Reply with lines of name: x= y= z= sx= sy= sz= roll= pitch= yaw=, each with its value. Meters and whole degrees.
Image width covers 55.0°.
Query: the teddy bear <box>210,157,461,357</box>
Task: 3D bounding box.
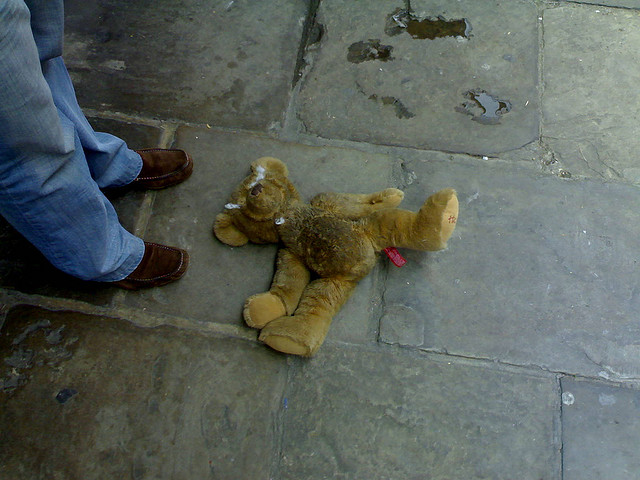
teddy bear: x=-0.044 y=-0.051 z=2.869 sx=1.030 sy=0.387 sz=0.908 roll=-39 pitch=76 yaw=-11
